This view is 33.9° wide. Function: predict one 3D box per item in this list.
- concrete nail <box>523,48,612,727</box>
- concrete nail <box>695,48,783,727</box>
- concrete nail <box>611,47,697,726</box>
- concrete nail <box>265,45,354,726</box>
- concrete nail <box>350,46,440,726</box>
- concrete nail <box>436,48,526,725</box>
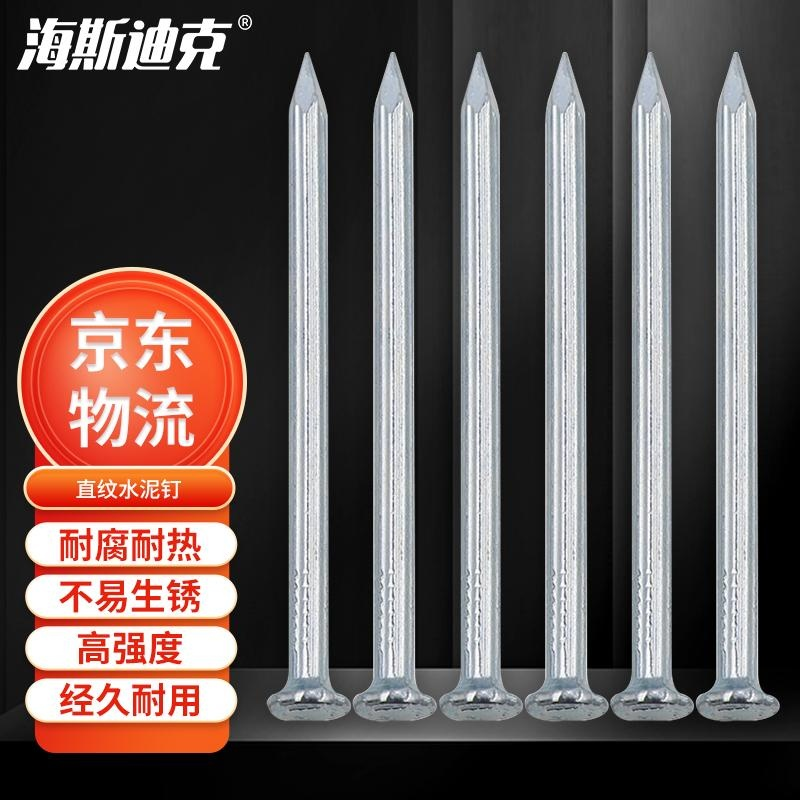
[{"bbox_3d":[0.162,-0.016,1.274,0.065,0.644,0.057,2,2,42],"label":"concrete nail"},{"bbox_3d":[0.331,-0.016,1.280,0.066,0.645,0.063,2,2,43],"label":"concrete nail"},{"bbox_3d":[0.248,-0.015,1.284,0.077,0.641,0.051,0,1,4],"label":"concrete nail"},{"bbox_3d":[-0.092,-0.016,1.278,0.063,0.642,0.064,-1,2,-41],"label":"concrete nail"},{"bbox_3d":[-0.005,-0.017,1.287,0.078,0.643,0.056,0,1,-2],"label":"concrete nail"},{"bbox_3d":[0.080,-0.015,1.279,0.076,0.639,0.049,0,1,3],"label":"concrete nail"}]
